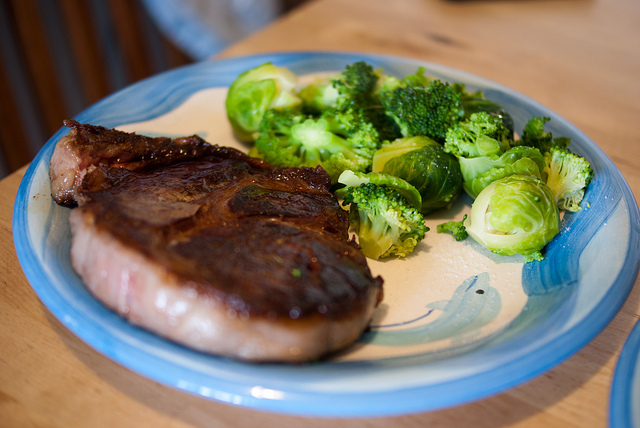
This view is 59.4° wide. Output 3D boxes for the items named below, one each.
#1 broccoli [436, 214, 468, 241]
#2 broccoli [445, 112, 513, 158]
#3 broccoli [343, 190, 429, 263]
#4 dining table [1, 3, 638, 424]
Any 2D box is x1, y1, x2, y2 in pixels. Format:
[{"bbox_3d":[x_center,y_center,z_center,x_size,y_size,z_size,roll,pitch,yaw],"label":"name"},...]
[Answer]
[{"bbox_3d":[0.633,0.068,2.649,0.139,0.086,0.106,2,45,-4],"label":"broccoli"},{"bbox_3d":[0.812,-0.453,2.804,0.270,0.144,0.304,18,6,26],"label":"broccoli"},{"bbox_3d":[0.263,0.040,2.622,0.368,0.337,0.243,24,68,36],"label":"broccoli"},{"bbox_3d":[0.041,-0.044,2.528,2.689,0.574,1.997,5,44,0],"label":"dining table"}]
